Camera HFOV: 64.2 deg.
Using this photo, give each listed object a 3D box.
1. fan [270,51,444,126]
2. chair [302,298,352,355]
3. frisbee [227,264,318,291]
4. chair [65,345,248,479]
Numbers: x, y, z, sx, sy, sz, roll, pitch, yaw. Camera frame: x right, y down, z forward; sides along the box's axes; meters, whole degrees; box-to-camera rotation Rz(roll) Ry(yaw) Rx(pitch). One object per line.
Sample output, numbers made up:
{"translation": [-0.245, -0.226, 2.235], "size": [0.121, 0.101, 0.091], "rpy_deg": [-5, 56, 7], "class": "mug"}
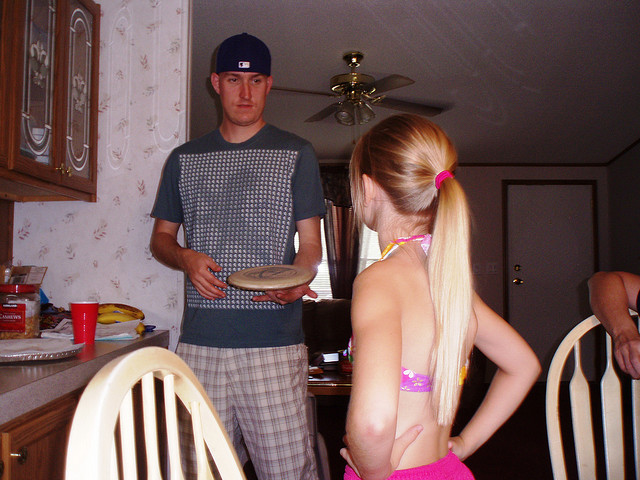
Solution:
{"translation": [0.351, -1.040, 3.725], "size": [0.728, 0.317, 0.792], "rpy_deg": [5, -14, -13], "class": "fan"}
{"translation": [0.063, 0.749, 4.356], "size": [0.423, 0.561, 0.784], "rpy_deg": [0, 0, -1], "class": "chair"}
{"translation": [-0.153, 0.117, 1.629], "size": [0.273, 0.067, 0.164], "rpy_deg": [3, -1, -5], "class": "frisbee"}
{"translation": [-0.310, 0.374, 1.019], "size": [0.144, 0.270, 0.376], "rpy_deg": [2, -1, 29], "class": "chair"}
